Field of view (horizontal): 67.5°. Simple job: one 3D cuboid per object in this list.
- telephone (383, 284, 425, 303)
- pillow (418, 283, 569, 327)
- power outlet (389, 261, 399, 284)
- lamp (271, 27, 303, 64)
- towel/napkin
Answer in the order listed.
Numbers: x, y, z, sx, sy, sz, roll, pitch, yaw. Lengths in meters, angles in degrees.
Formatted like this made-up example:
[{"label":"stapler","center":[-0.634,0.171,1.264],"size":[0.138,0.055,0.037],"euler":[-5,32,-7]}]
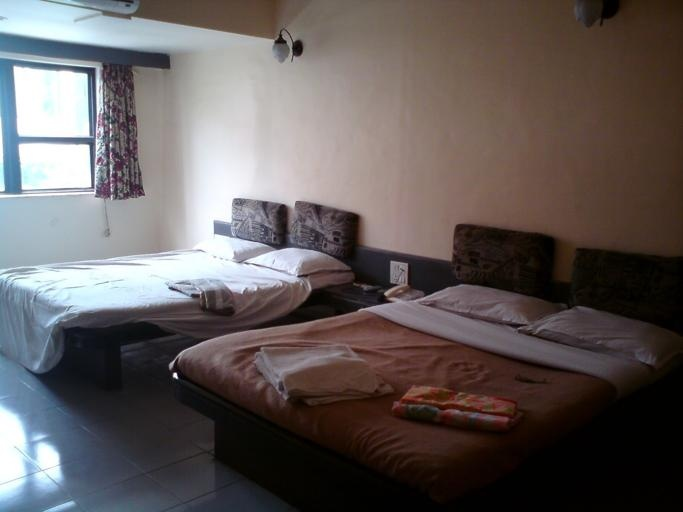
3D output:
[{"label":"telephone","center":[0.505,0.317,4.189],"size":[0.222,0.061,0.165],"euler":[-9,15,-37]},{"label":"pillow","center":[1.007,0.337,3.489],"size":[0.394,0.105,0.508],"euler":[-12,14,-42]},{"label":"power outlet","center":[0.459,0.140,4.446],"size":[0.024,0.228,0.163],"euler":[-7,12,-33]},{"label":"lamp","center":[-0.505,-2.043,4.914],"size":[0.278,0.343,0.462],"euler":[-1,14,-4]},{"label":"towel/napkin","center":[-0.114,0.588,2.696],"size":[0.561,0.135,0.609],"euler":[-7,16,-27]}]
